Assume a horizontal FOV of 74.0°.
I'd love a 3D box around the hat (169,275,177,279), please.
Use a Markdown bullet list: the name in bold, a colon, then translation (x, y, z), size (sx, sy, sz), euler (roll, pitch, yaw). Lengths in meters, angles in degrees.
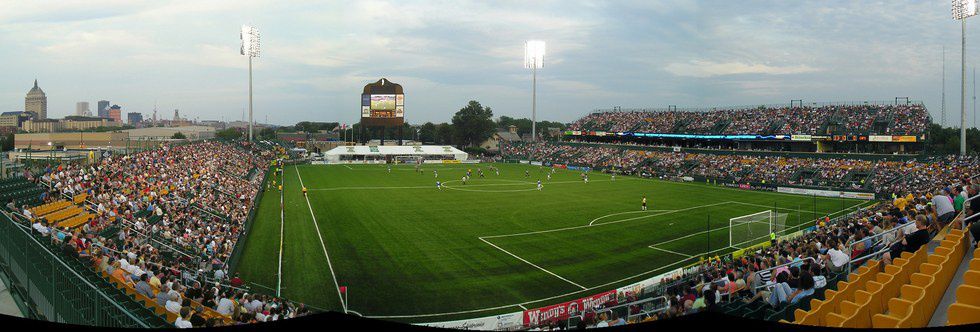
- **hat**: translation (-43.808, 15.518, 90.346), size (0.835, 0.216, 0.971), euler (-6, 10, -26)
